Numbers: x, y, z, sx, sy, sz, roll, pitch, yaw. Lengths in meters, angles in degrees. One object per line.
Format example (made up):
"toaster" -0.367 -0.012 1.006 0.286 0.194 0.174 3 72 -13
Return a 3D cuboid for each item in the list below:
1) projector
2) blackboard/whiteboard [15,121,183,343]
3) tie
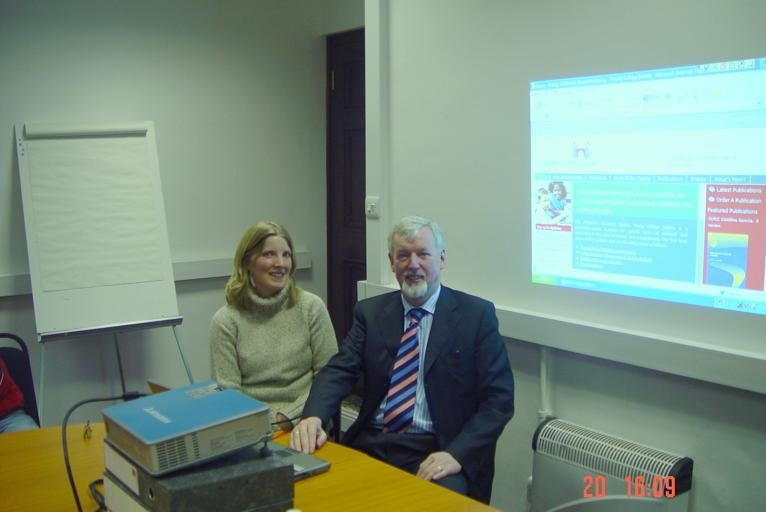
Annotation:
"projector" -0.641 0.568 2.011 0.322 0.105 0.333 -5 8 -30
"blackboard/whiteboard" -1.785 -0.208 3.764 0.780 1.281 0.612 -6 8 -32
"tie" 0.094 0.522 2.784 0.183 0.543 0.206 1 7 18
